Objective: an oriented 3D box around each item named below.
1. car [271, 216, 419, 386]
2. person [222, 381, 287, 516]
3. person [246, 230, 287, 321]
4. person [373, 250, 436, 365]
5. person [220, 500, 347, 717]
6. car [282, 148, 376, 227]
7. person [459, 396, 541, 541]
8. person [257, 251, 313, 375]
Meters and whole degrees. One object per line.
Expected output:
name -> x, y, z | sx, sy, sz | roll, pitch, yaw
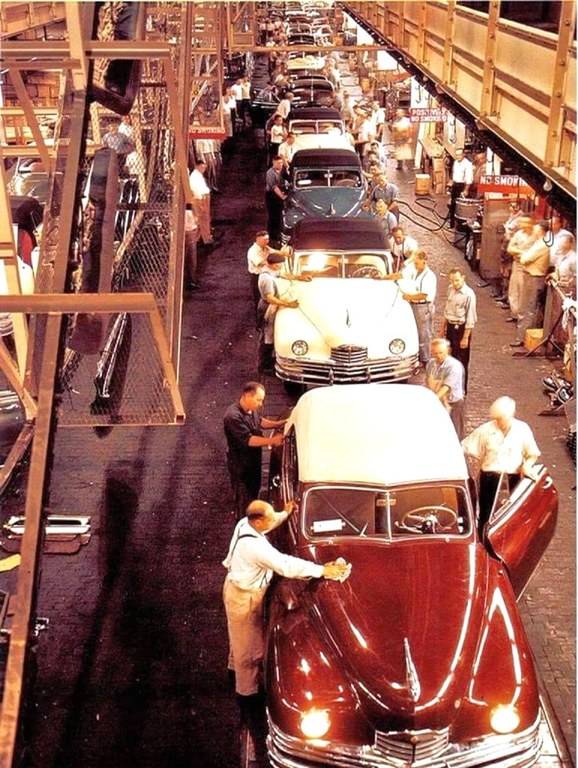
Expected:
car -> 0.782, -1.035, 9.308 | 1.356, 1.373, 2.980 | -1, 41, 0
person -> -0.347, 0.919, 6.405 | 0.606, 1.860, 0.598 | 1, 12, -1
person -> -0.380, -1.740, 10.038 | 0.781, 2.176, 0.769 | -1, 59, -2
person -> 1.642, -1.082, 8.822 | 0.670, 2.106, 0.931 | -10, 25, -16
person -> -0.047, 1.564, 4.374 | 0.758, 1.575, 0.846 | -13, 26, -41
car -> 0.760, -4.374, 13.479 | 1.869, 1.580, 2.666 | 9, 20, 12
person -> 1.985, 0.929, 5.804 | 0.632, 1.553, 0.547 | 0, 22, 15
person -> -0.041, -1.082, 8.940 | 0.574, 1.690, 0.715 | -3, 61, -4
